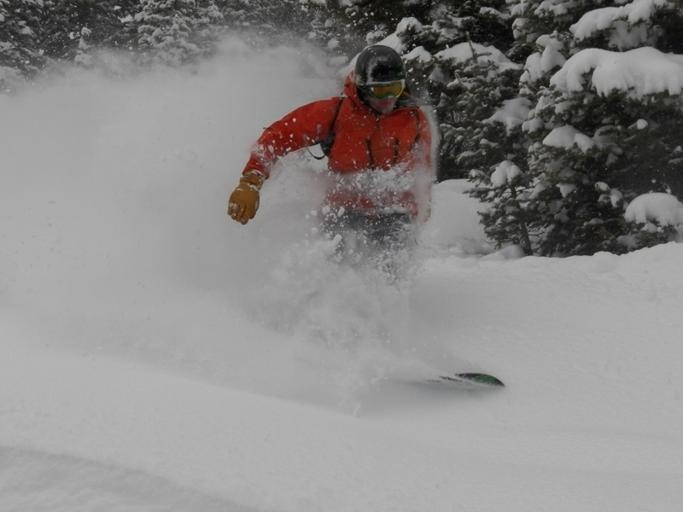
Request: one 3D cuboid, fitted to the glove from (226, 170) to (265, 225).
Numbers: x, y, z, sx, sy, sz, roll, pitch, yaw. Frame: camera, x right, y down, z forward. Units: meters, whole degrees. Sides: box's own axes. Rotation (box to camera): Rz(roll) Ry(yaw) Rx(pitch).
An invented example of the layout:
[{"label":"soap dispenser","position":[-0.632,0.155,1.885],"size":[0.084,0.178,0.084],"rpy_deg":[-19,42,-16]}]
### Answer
[{"label":"glove","position":[-1.004,-0.580,12.263],"size":[0.340,0.177,0.563],"rpy_deg":[16,69,5]}]
